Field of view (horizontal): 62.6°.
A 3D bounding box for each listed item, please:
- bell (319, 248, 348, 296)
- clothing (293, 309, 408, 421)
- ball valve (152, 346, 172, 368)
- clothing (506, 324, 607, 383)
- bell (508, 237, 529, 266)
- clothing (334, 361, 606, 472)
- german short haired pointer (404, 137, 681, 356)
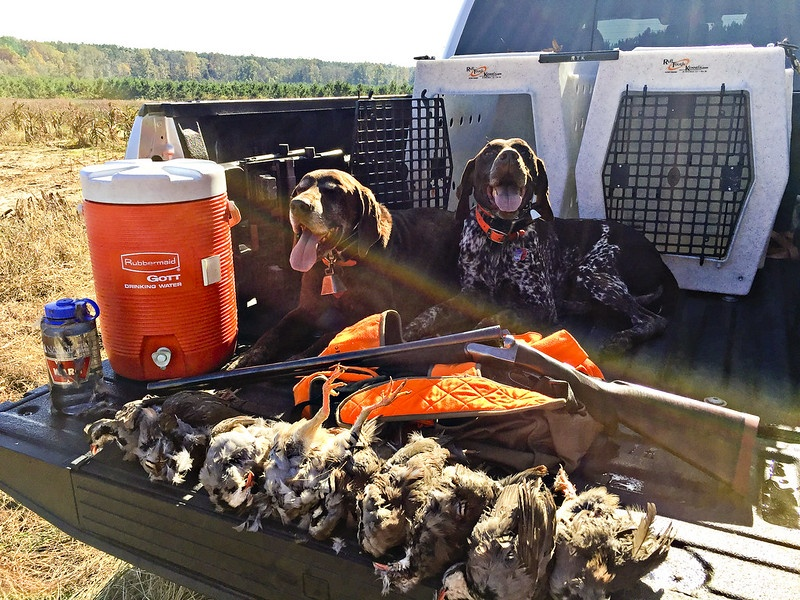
[{"bbox_3d":[-0.372,-0.125,3.472,0.129,0.242,0.125,2,19,7],"label":"bell"},{"bbox_3d":[-0.217,0.246,2.827,0.487,0.182,0.346,-20,5,-3],"label":"clothing"},{"bbox_3d":[-1.109,0.266,3.029,0.085,0.091,0.027,37,2,-11],"label":"ball valve"},{"bbox_3d":[0.665,0.219,2.722,0.300,0.114,0.215,18,27,7],"label":"clothing"},{"bbox_3d":[0.707,-0.289,3.928,0.091,0.120,0.074,2,19,7],"label":"bell"},{"bbox_3d":[0.349,0.429,2.432,0.595,0.185,0.473,5,1,10],"label":"clothing"},{"bbox_3d":[0.929,-0.336,4.255,1.861,1.200,0.918,3,4,-38],"label":"german short haired pointer"}]
